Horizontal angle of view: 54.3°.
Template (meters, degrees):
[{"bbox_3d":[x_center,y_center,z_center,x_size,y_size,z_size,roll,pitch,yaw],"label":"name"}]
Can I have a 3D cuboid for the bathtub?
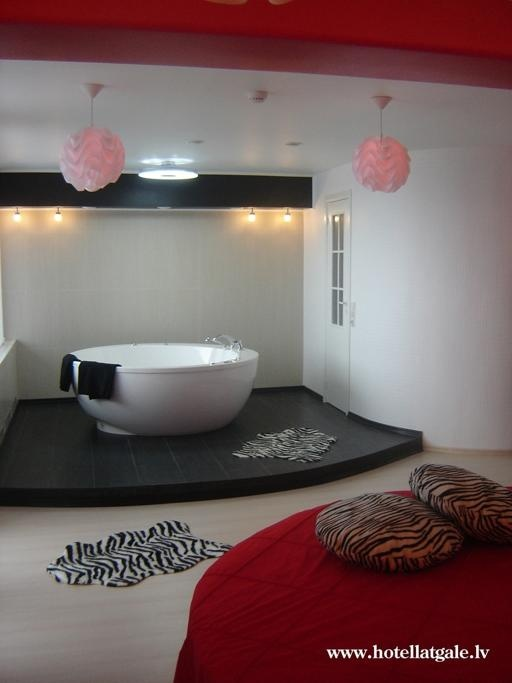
[{"bbox_3d":[-0.941,0.438,5.086,1.697,0.766,1.771,-1,9,-20],"label":"bathtub"}]

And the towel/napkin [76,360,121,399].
[{"bbox_3d":[-1.370,0.337,4.366,0.302,0.270,0.087,5,7,28],"label":"towel/napkin"}]

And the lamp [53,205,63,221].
[{"bbox_3d":[-2.322,-1.497,5.886,0.097,0.154,0.128,-1,9,-19],"label":"lamp"}]

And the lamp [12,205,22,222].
[{"bbox_3d":[-2.760,-1.470,5.778,0.088,0.150,0.131,0,9,-15],"label":"lamp"}]

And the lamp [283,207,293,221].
[{"bbox_3d":[0.401,-1.629,6.412,0.113,0.151,0.259,3,9,6],"label":"lamp"}]

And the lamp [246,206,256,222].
[{"bbox_3d":[-0.051,-1.609,6.343,0.105,0.152,0.153,2,8,-1],"label":"lamp"}]
